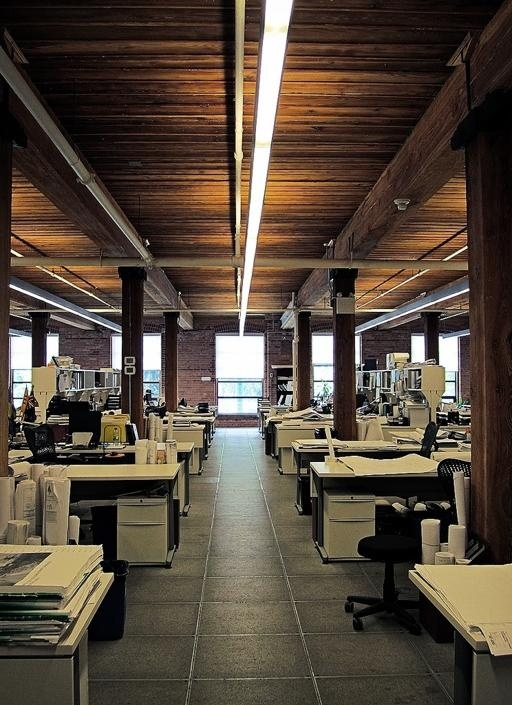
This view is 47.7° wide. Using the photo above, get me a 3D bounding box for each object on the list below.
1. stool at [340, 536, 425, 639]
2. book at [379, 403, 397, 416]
[{"bbox_3d":[0.779,1.334,3.388,0.473,0.475,0.448,1,-2,-8],"label":"stool"},{"bbox_3d":[2.434,1.065,10.725,0.233,0.216,0.307,1,0,20],"label":"book"}]
